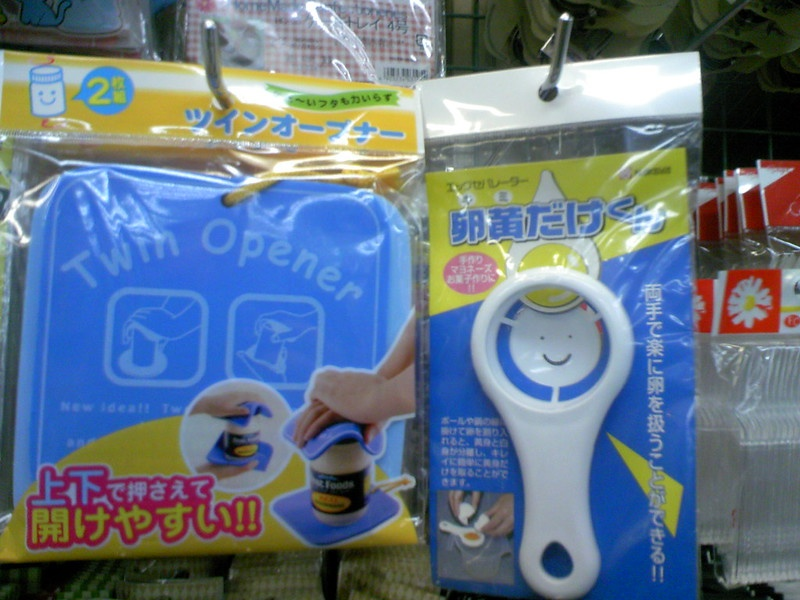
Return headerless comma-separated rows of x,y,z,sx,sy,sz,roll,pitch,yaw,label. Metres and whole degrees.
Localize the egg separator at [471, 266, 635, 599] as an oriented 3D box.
0.184,0.161,0.913,0.194,0.395,0.086,1,5,18,egg separator
